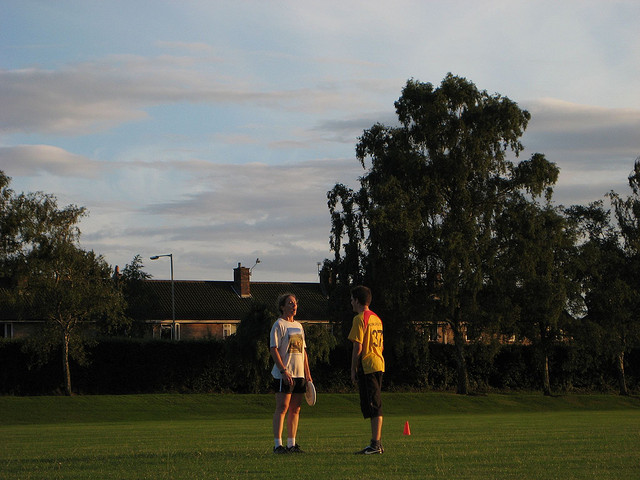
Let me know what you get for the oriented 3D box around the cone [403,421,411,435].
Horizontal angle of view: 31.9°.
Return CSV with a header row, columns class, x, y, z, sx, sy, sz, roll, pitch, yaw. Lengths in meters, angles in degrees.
class,x,y,z,sx,sy,sz,roll,pitch,yaw
cone,3.170,6.920,40.990,0.335,0.549,0.344,1,-2,-34
